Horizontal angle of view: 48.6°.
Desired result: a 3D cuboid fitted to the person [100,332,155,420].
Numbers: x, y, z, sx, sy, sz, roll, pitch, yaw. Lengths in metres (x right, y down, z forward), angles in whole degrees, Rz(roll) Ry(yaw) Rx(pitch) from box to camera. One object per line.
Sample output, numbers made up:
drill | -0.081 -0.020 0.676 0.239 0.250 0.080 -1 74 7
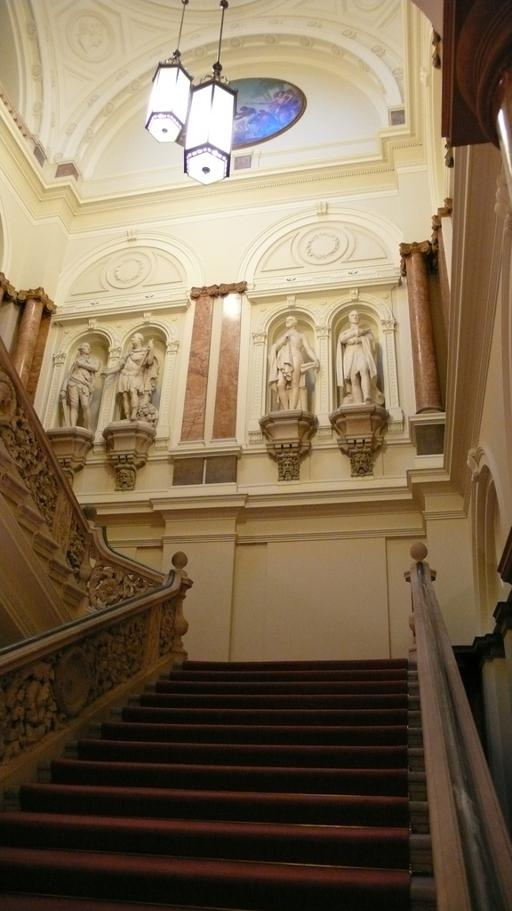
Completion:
person | -2.121 -1.409 10.166 0.912 1.659 0.891 -4 -5 -25

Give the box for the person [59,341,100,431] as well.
person | -3.260 -1.273 10.249 0.580 1.723 1.029 -6 -4 11

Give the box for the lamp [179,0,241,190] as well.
lamp | -0.676 -4.945 8.181 0.809 1.806 0.581 -5 -4 -6

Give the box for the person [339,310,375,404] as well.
person | 1.631 -1.617 9.338 0.570 1.854 0.478 -9 -26 22
